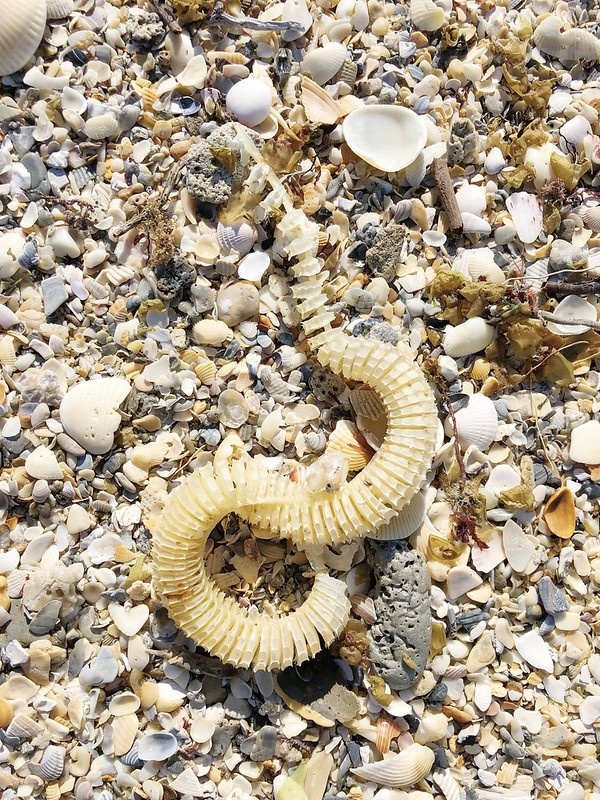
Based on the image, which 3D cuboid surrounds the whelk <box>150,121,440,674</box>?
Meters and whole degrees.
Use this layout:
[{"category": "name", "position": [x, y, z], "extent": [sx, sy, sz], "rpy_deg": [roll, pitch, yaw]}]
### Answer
[{"category": "whelk", "position": [0.030, 0.171, 2.690], "extent": [0.628, 0.280, 1.145], "rpy_deg": [21, 77, 3]}]
